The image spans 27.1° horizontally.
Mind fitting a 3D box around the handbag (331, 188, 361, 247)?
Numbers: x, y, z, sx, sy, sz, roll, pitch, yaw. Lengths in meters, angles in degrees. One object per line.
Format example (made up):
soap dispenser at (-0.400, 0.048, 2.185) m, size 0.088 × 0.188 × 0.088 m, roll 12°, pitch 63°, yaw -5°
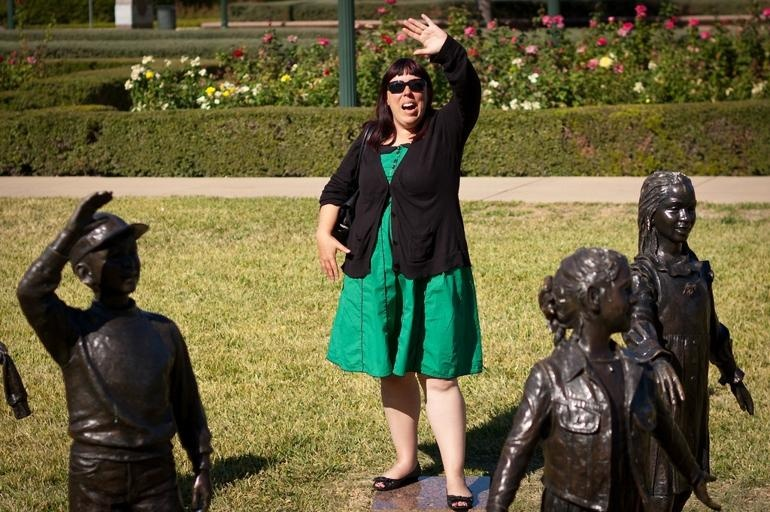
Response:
handbag at (-0.620, -0.589, 25.001) m, size 0.223 × 0.690 × 0.457 m, roll 15°, pitch -5°, yaw -8°
